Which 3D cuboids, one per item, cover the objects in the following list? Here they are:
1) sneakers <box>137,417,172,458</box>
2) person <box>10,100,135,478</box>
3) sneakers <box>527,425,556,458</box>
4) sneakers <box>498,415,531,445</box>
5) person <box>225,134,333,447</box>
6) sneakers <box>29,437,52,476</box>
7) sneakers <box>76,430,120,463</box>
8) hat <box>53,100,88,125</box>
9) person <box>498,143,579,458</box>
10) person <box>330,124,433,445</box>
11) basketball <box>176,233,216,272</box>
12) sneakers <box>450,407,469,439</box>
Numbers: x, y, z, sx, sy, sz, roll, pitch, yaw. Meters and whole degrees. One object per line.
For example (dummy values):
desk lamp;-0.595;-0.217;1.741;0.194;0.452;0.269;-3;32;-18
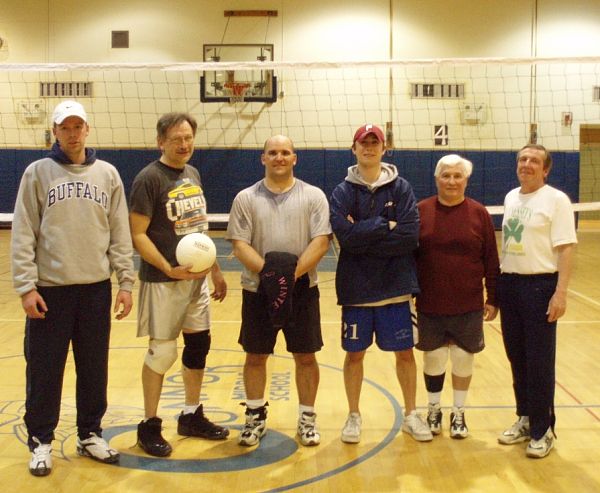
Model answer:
sneakers;-0.927;1.199;3.565;0.177;0.208;0.246;-5;9;-28
person;-1.334;0.222;3.345;0.674;2.153;0.422;-3;9;-19
sneakers;1.527;1.239;3.525;0.096;0.116;0.276;-1;-6;35
sneakers;1.425;1.206;3.680;0.291;0.150;0.102;-4;0;-19
person;-0.122;0.273;3.705;0.682;2.005;0.540;-1;8;-4
sneakers;-1.517;1.224;3.262;0.118;0.195;0.134;-4;9;-26
sneakers;-1.235;1.236;3.483;0.328;0.149;0.119;10;10;26
hat;-1.394;-0.805;3.367;0.175;0.141;0.245;-3;3;-20
person;1.470;0.318;3.579;0.473;1.917;0.488;-7;11;-41
person;0.533;0.236;3.706;0.658;2.054;0.444;0;8;2
basketball;-0.656;0.043;3.593;0.273;0.255;0.225;-3;9;-21
sneakers;1.049;1.178;3.710;0.081;0.102;0.239;-2;-1;7
